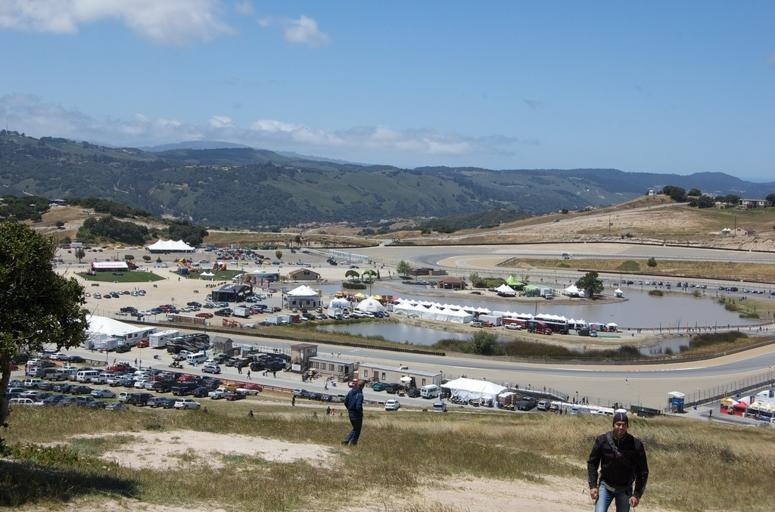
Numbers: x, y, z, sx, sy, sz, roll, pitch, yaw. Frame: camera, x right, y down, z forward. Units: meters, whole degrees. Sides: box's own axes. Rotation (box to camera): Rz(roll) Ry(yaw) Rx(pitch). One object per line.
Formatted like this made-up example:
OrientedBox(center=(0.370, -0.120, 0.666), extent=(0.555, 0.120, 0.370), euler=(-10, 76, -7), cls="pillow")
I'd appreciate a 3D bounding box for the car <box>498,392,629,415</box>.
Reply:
OrientedBox(center=(10.220, 9.219, 60.411), extent=(6.179, 0.883, 3.493), euler=(5, 3, 30), cls="car")
